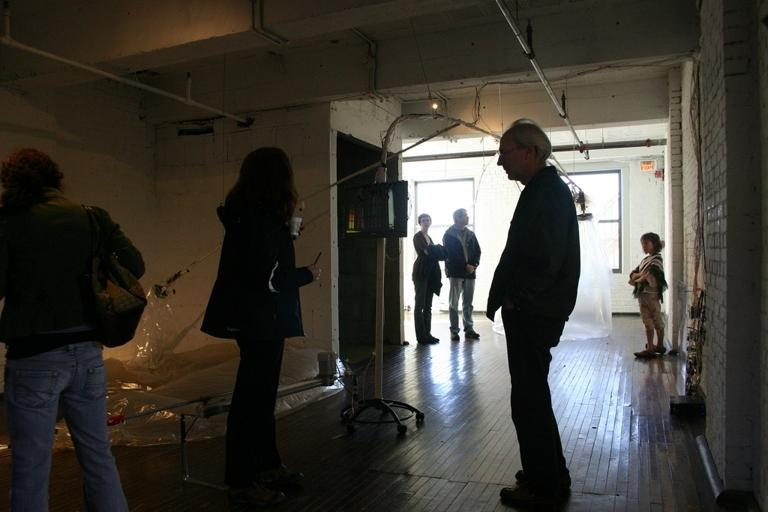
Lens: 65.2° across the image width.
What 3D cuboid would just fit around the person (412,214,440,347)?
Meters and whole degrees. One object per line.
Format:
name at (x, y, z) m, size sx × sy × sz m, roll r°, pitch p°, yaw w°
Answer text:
person at (0.645, 0.437, 8.955) m, size 0.425 × 1.612 × 0.410 m, roll -2°, pitch 6°, yaw -13°

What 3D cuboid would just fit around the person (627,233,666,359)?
person at (3.402, 0.471, 7.727) m, size 0.443 × 1.538 × 0.543 m, roll 1°, pitch 6°, yaw 21°

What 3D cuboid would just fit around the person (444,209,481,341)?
person at (1.199, 0.262, 9.326) m, size 0.557 × 1.978 × 0.766 m, roll 0°, pitch 5°, yaw 5°

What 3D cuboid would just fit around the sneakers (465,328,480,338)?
sneakers at (1.348, 1.172, 9.213) m, size 0.218 × 0.116 × 0.195 m, roll 0°, pitch 6°, yaw 9°

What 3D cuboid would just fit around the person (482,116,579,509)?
person at (1.029, 0.365, 4.168) m, size 0.596 × 2.636 × 0.494 m, roll 1°, pitch 6°, yaw 18°

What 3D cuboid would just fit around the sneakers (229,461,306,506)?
sneakers at (-0.805, 1.581, 4.227) m, size 0.505 × 0.220 × 0.189 m, roll -4°, pitch 1°, yaw -6°

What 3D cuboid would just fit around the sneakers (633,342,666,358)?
sneakers at (3.415, 1.188, 7.647) m, size 0.500 × 0.220 × 0.154 m, roll 1°, pitch -3°, yaw -14°

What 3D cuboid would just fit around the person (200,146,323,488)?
person at (-0.873, 0.455, 4.151) m, size 0.730 × 2.405 × 0.378 m, roll -3°, pitch 6°, yaw -19°
